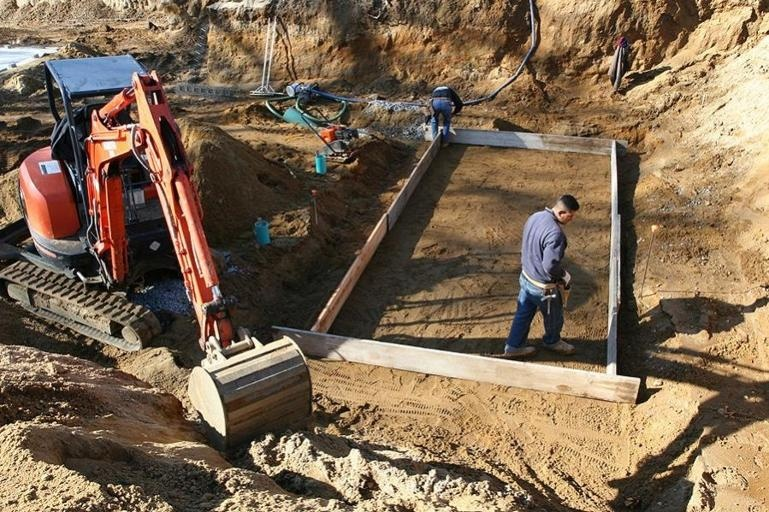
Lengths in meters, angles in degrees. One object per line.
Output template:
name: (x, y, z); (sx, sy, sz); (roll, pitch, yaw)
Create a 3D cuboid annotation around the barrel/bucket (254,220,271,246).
barrel/bucket: (-2.132, -0.385, 13.065); (0.316, 0.484, 0.298); (0, 24, 0)

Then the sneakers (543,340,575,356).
sneakers: (2.612, 1.367, 11.316); (0.447, 0.169, 0.210); (2, 27, 11)

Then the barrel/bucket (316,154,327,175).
barrel/bucket: (-1.289, -1.839, 15.176); (0.229, 0.379, 0.330); (-4, 25, -7)

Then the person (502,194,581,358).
person: (2.291, 0.331, 10.958); (0.997, 2.475, 0.549); (2, 26, 8)

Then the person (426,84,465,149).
person: (1.241, -3.152, 16.410); (0.766, 1.313, 0.784); (-8, -16, 39)
